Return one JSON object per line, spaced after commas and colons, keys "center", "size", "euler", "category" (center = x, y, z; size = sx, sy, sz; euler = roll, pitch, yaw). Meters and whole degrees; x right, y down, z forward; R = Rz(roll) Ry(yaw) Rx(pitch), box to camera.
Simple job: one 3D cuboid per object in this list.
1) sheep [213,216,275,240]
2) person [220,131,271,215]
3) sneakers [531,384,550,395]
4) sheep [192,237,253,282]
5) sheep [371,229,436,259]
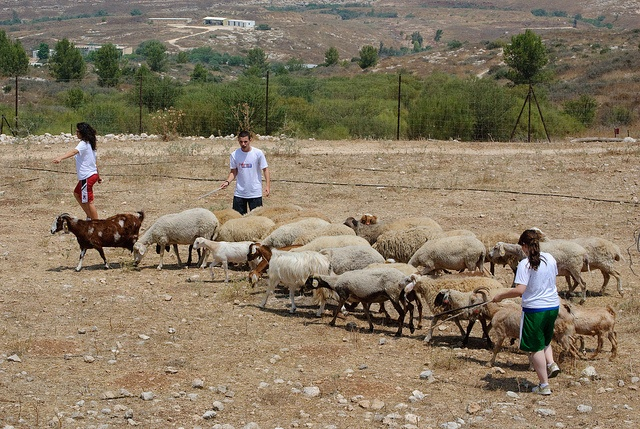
{"center": [-2.378, 0.521, 32.390], "size": [2.161, 1.124, 0.724], "euler": [-1, 35, 1], "category": "sheep"}
{"center": [-2.432, -1.363, 32.982], "size": [1.417, 2.782, 1.061], "euler": [-3, 10, 1], "category": "person"}
{"center": [6.033, 4.807, 27.193], "size": [0.213, 0.229, 0.529], "euler": [-8, 10, -39], "category": "sneakers"}
{"center": [-3.003, 1.421, 31.471], "size": [1.770, 1.385, 0.653], "euler": [-2, 10, 6], "category": "sheep"}
{"center": [2.745, 0.883, 31.723], "size": [1.863, 1.021, 0.902], "euler": [-22, -12, 16], "category": "sheep"}
